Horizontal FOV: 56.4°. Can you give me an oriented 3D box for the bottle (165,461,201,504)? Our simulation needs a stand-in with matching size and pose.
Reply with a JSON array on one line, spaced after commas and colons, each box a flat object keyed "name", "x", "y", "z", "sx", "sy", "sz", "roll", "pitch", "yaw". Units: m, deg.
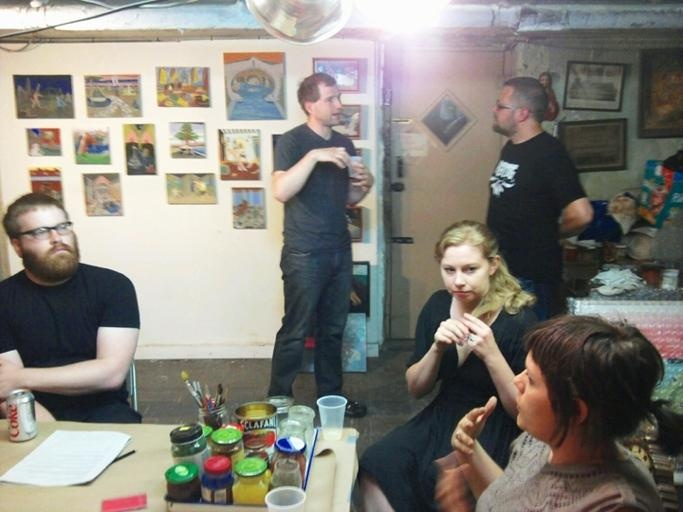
[{"name": "bottle", "x": -0.541, "y": 0.787, "z": 2.213, "sx": 0.127, "sy": 0.113, "sz": 0.118, "roll": 0, "pitch": 2, "yaw": -2}]

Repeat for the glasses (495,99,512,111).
[{"name": "glasses", "x": 0.942, "y": -0.860, "z": 3.680, "sx": 0.076, "sy": 0.021, "sz": 0.070, "roll": 12, "pitch": 23, "yaw": -4}]

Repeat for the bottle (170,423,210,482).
[{"name": "bottle", "x": -0.543, "y": 0.706, "z": 2.277, "sx": 0.173, "sy": 0.215, "sz": 0.162, "roll": -1, "pitch": 1, "yaw": 0}]

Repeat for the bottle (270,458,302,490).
[{"name": "bottle", "x": -0.190, "y": 0.764, "z": 2.217, "sx": 0.101, "sy": 0.082, "sz": 0.097, "roll": 1, "pitch": -6, "yaw": 16}]

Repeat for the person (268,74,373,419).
[{"name": "person", "x": -0.132, "y": -0.053, "z": 3.965, "sx": 0.852, "sy": 2.099, "sz": 0.511, "roll": -9, "pitch": 12, "yaw": -27}]

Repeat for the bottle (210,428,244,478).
[{"name": "bottle", "x": -0.386, "y": 0.713, "z": 2.274, "sx": 0.137, "sy": 0.133, "sz": 0.127, "roll": 0, "pitch": 7, "yaw": 0}]

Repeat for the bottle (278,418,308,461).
[{"name": "bottle", "x": -0.165, "y": 0.685, "z": 2.375, "sx": 0.115, "sy": 0.101, "sz": 0.114, "roll": 0, "pitch": -10, "yaw": 5}]

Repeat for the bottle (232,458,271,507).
[{"name": "bottle", "x": -0.305, "y": 0.785, "z": 2.203, "sx": 0.129, "sy": 0.156, "sz": 0.151, "roll": 2, "pitch": 1, "yaw": -1}]

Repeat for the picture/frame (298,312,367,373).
[{"name": "picture/frame", "x": -0.075, "y": 0.600, "z": 4.254, "sx": 0.573, "sy": 0.420, "sz": 0.186, "roll": 0, "pitch": 0, "yaw": 2}]

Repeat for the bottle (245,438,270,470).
[{"name": "bottle", "x": -0.296, "y": 0.713, "z": 2.286, "sx": 0.102, "sy": 0.139, "sz": 0.092, "roll": 0, "pitch": -2, "yaw": -7}]

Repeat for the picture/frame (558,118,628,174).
[{"name": "picture/frame", "x": 1.814, "y": -0.799, "z": 4.547, "sx": 0.677, "sy": 0.501, "sz": 0.045, "roll": 1, "pitch": 15, "yaw": 2}]

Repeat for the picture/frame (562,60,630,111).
[{"name": "picture/frame", "x": 1.860, "y": -1.251, "z": 4.630, "sx": 0.405, "sy": 0.298, "sz": 0.030, "roll": 2, "pitch": 7, "yaw": 0}]
